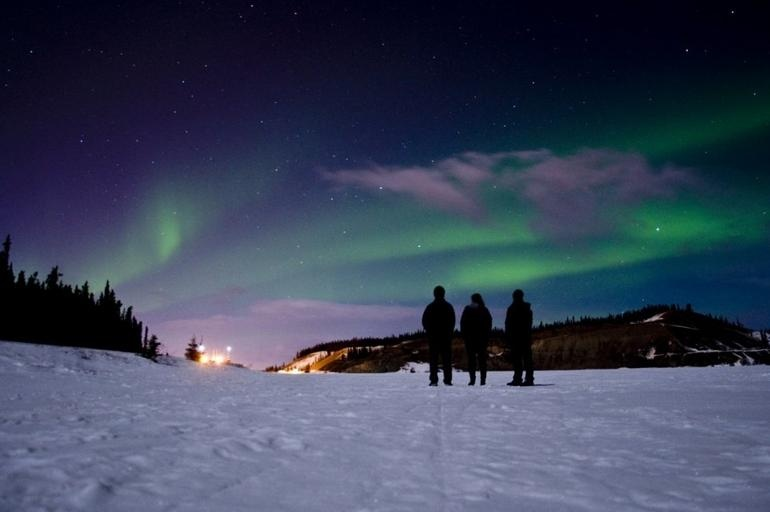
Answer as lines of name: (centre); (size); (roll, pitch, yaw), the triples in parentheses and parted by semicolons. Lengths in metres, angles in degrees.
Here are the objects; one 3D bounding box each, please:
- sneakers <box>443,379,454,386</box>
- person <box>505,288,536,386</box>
sneakers: (1.504, 3.080, 13.671); (0.121, 0.208, 0.287); (12, -22, -44)
person: (3.243, 1.974, 13.687); (0.654, 2.270, 1.304); (0, -4, 12)
